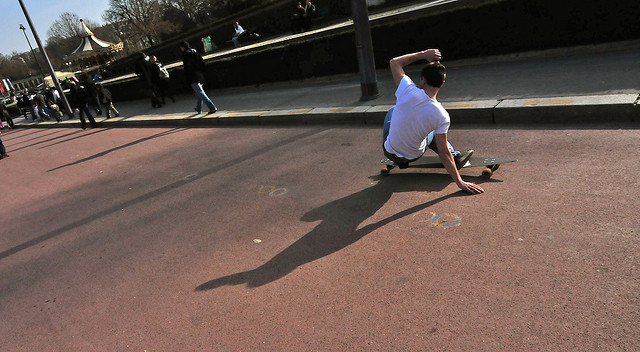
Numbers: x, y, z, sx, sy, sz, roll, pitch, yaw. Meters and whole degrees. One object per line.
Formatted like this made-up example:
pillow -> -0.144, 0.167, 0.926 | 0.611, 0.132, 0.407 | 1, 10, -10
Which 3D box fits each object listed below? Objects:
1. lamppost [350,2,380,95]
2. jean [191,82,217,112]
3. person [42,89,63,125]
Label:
lamppost -> 1.199, -3.486, 10.789 | 0.564, 2.505, 0.846 | -11, 21, 10
jean -> -4.234, -2.830, 13.914 | 0.579, 1.036, 1.411 | -20, 20, -14
person -> -15.621, -3.902, 23.153 | 0.866, 0.525, 2.456 | -20, -14, -48
